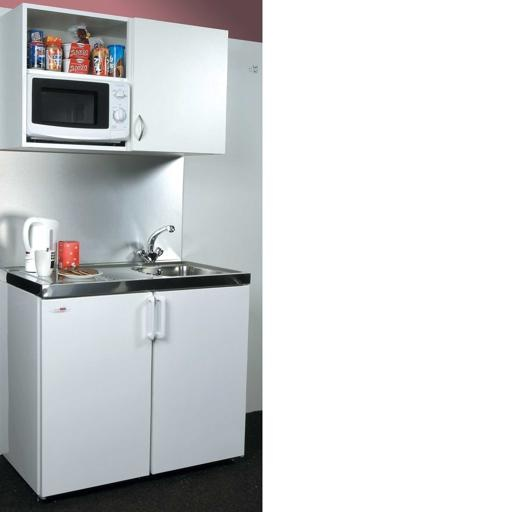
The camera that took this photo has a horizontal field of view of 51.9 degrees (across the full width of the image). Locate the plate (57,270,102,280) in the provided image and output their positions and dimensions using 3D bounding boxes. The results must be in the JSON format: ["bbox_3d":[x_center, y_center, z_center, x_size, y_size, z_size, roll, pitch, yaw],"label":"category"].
[{"bbox_3d":[-0.808,0.086,2.416,0.190,0.026,0.183,1,3,-20],"label":"plate"}]

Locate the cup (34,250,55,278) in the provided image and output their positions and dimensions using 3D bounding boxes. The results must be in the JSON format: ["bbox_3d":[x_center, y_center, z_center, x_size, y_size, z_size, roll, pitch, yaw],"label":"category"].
[{"bbox_3d":[-0.980,0.031,2.432,0.071,0.120,0.178,0,4,-31],"label":"cup"}]

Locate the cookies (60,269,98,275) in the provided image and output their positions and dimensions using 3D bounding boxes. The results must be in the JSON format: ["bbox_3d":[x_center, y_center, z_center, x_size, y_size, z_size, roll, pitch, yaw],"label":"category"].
[{"bbox_3d":[-0.827,0.076,2.456,0.070,0.008,0.070,5,10,11],"label":"cookies"}]
